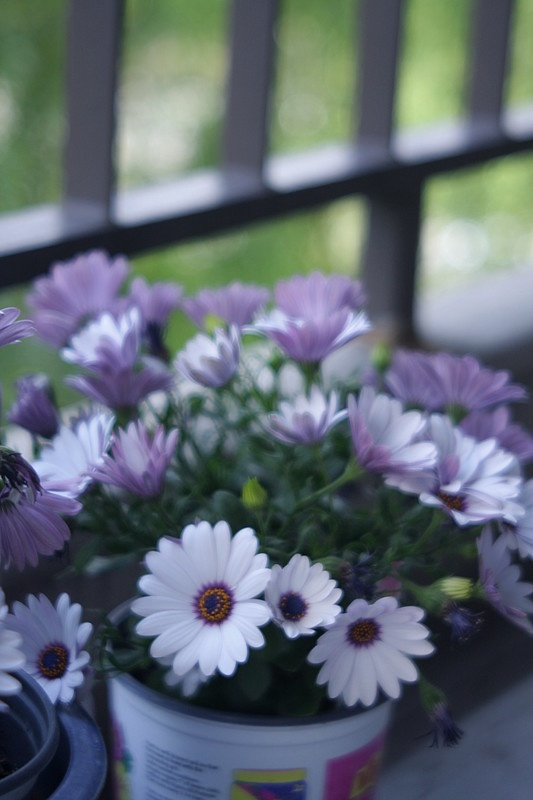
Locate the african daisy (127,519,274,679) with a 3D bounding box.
[{"bbox_3d":[-0.021,0.066,0.221,0.047,0.038,0.038,4,15,8],"label":"african daisy"}]

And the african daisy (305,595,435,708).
[{"bbox_3d":[0.037,0.098,0.245,0.044,0.057,0.029,2,15,1],"label":"african daisy"}]
